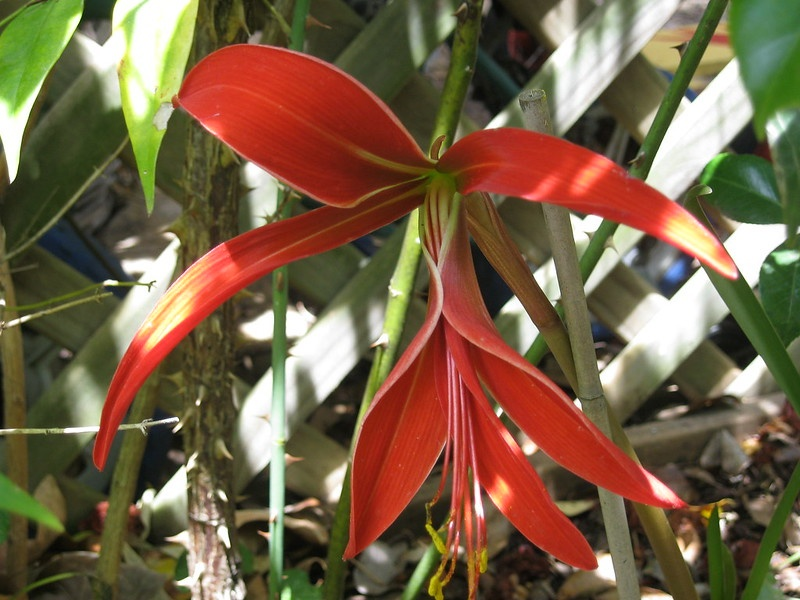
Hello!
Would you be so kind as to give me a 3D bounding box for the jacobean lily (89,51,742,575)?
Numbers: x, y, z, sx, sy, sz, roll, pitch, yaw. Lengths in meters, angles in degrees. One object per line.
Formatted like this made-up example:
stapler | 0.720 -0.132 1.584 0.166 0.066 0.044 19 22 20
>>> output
jacobean lily | 0.075 -0.014 1.118 0.536 0.579 0.397 -34 -7 5
